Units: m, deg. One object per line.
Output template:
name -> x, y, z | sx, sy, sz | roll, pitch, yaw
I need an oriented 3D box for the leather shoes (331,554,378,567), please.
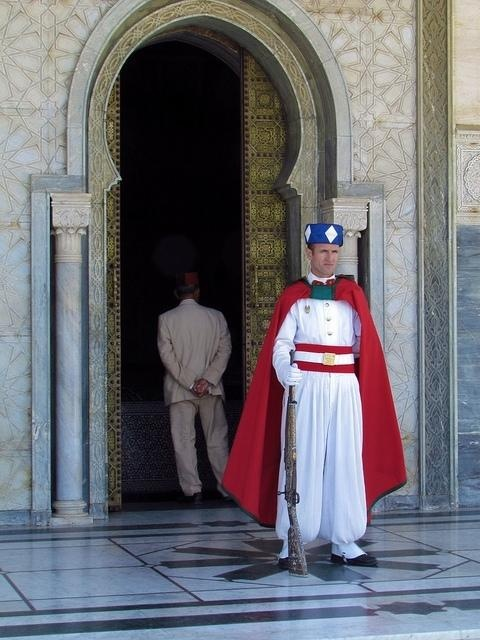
leather shoes -> 0.588, 1.226, 5.885 | 0.216, 0.082, 0.075 | -3, -2, 20

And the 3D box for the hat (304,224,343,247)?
hat -> 0.430, -0.442, 5.950 | 0.143, 0.080, 0.136 | 0, 4, -7

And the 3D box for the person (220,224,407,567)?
person -> 0.421, 0.379, 5.977 | 0.833, 1.752, 0.611 | -1, 2, -37

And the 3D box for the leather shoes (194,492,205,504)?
leather shoes -> -0.290, 1.249, 8.017 | 0.072, 0.075, 0.197 | 0, 1, 0

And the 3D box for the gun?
gun -> 0.213, 0.698, 5.639 | 0.085, 1.089, 0.269 | 2, -4, -36

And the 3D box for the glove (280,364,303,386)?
glove -> 0.242, 0.273, 5.631 | 0.058, 0.106, 0.079 | -2, -12, 5
